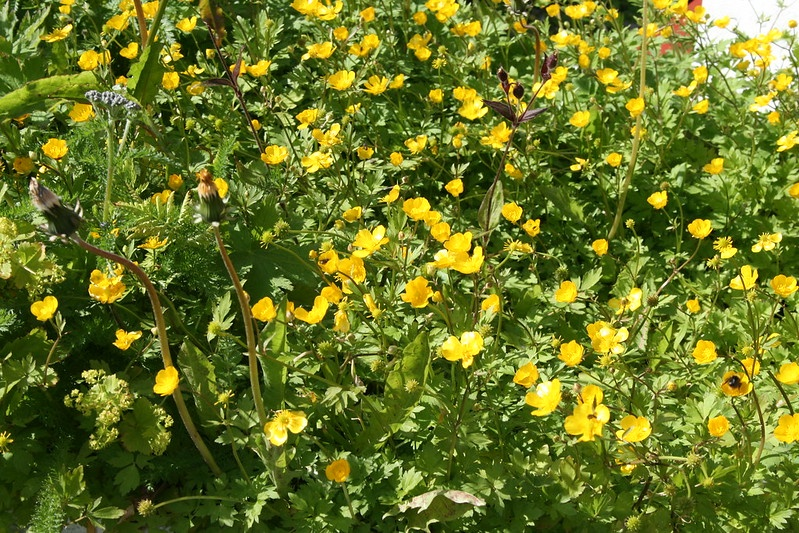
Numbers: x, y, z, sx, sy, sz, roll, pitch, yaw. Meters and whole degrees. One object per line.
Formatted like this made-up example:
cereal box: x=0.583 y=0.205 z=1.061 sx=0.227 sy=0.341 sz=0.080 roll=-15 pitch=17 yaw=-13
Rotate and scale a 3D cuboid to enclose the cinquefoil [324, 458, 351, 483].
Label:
cinquefoil: x=-0.234 y=0.807 z=2.803 sx=0.090 sy=0.076 sz=0.079 roll=33 pitch=-37 yaw=-24
